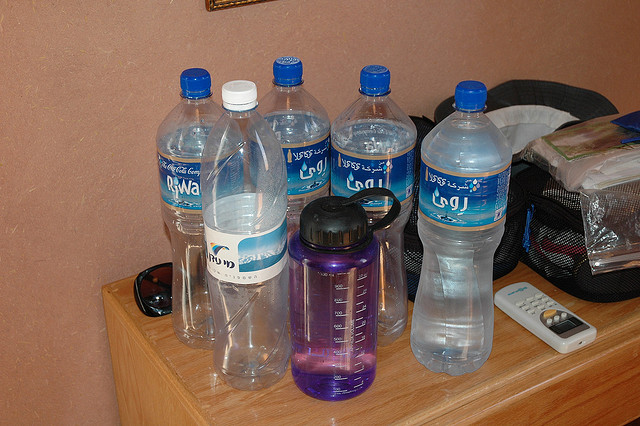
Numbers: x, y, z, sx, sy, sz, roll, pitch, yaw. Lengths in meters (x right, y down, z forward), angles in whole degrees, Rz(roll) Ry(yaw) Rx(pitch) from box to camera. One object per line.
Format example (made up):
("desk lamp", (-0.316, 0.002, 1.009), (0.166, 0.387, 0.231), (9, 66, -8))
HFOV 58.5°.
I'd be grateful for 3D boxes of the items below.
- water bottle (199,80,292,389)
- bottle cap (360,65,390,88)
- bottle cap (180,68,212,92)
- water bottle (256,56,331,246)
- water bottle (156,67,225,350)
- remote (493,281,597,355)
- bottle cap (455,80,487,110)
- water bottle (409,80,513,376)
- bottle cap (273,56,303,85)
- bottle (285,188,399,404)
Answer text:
("water bottle", (-0.135, 0.084, 1.191), (0.196, 0.670, 0.181), (0, 27, 0))
("bottle cap", (0.113, -0.278, 1.174), (0.080, 0.038, 0.078), (2, 26, 3))
("bottle cap", (-0.253, -0.271, 1.166), (0.057, 0.033, 0.069), (-6, 28, -2))
("water bottle", (-0.083, -0.088, 1.316), (0.206, 0.507, 0.199), (-1, 26, 0))
("water bottle", (-0.262, 0.012, 1.318), (0.174, 0.619, 0.169), (0, 17, 0))
("remote", (0.513, 0.234, 1.298), (0.107, 0.040, 0.204), (-19, 37, -27))
("bottle cap", (0.297, -0.230, 1.118), (0.058, 0.043, 0.057), (0, 22, 4))
("water bottle", (0.313, 0.046, 1.261), (0.192, 0.629, 0.189), (-2, 18, 1))
("bottle cap", (-0.066, -0.292, 1.176), (0.057, 0.048, 0.055), (-1, 25, -2))
("bottle", (0.040, 0.170, 1.134), (0.259, 0.424, 0.133), (-8, 29, -6))
